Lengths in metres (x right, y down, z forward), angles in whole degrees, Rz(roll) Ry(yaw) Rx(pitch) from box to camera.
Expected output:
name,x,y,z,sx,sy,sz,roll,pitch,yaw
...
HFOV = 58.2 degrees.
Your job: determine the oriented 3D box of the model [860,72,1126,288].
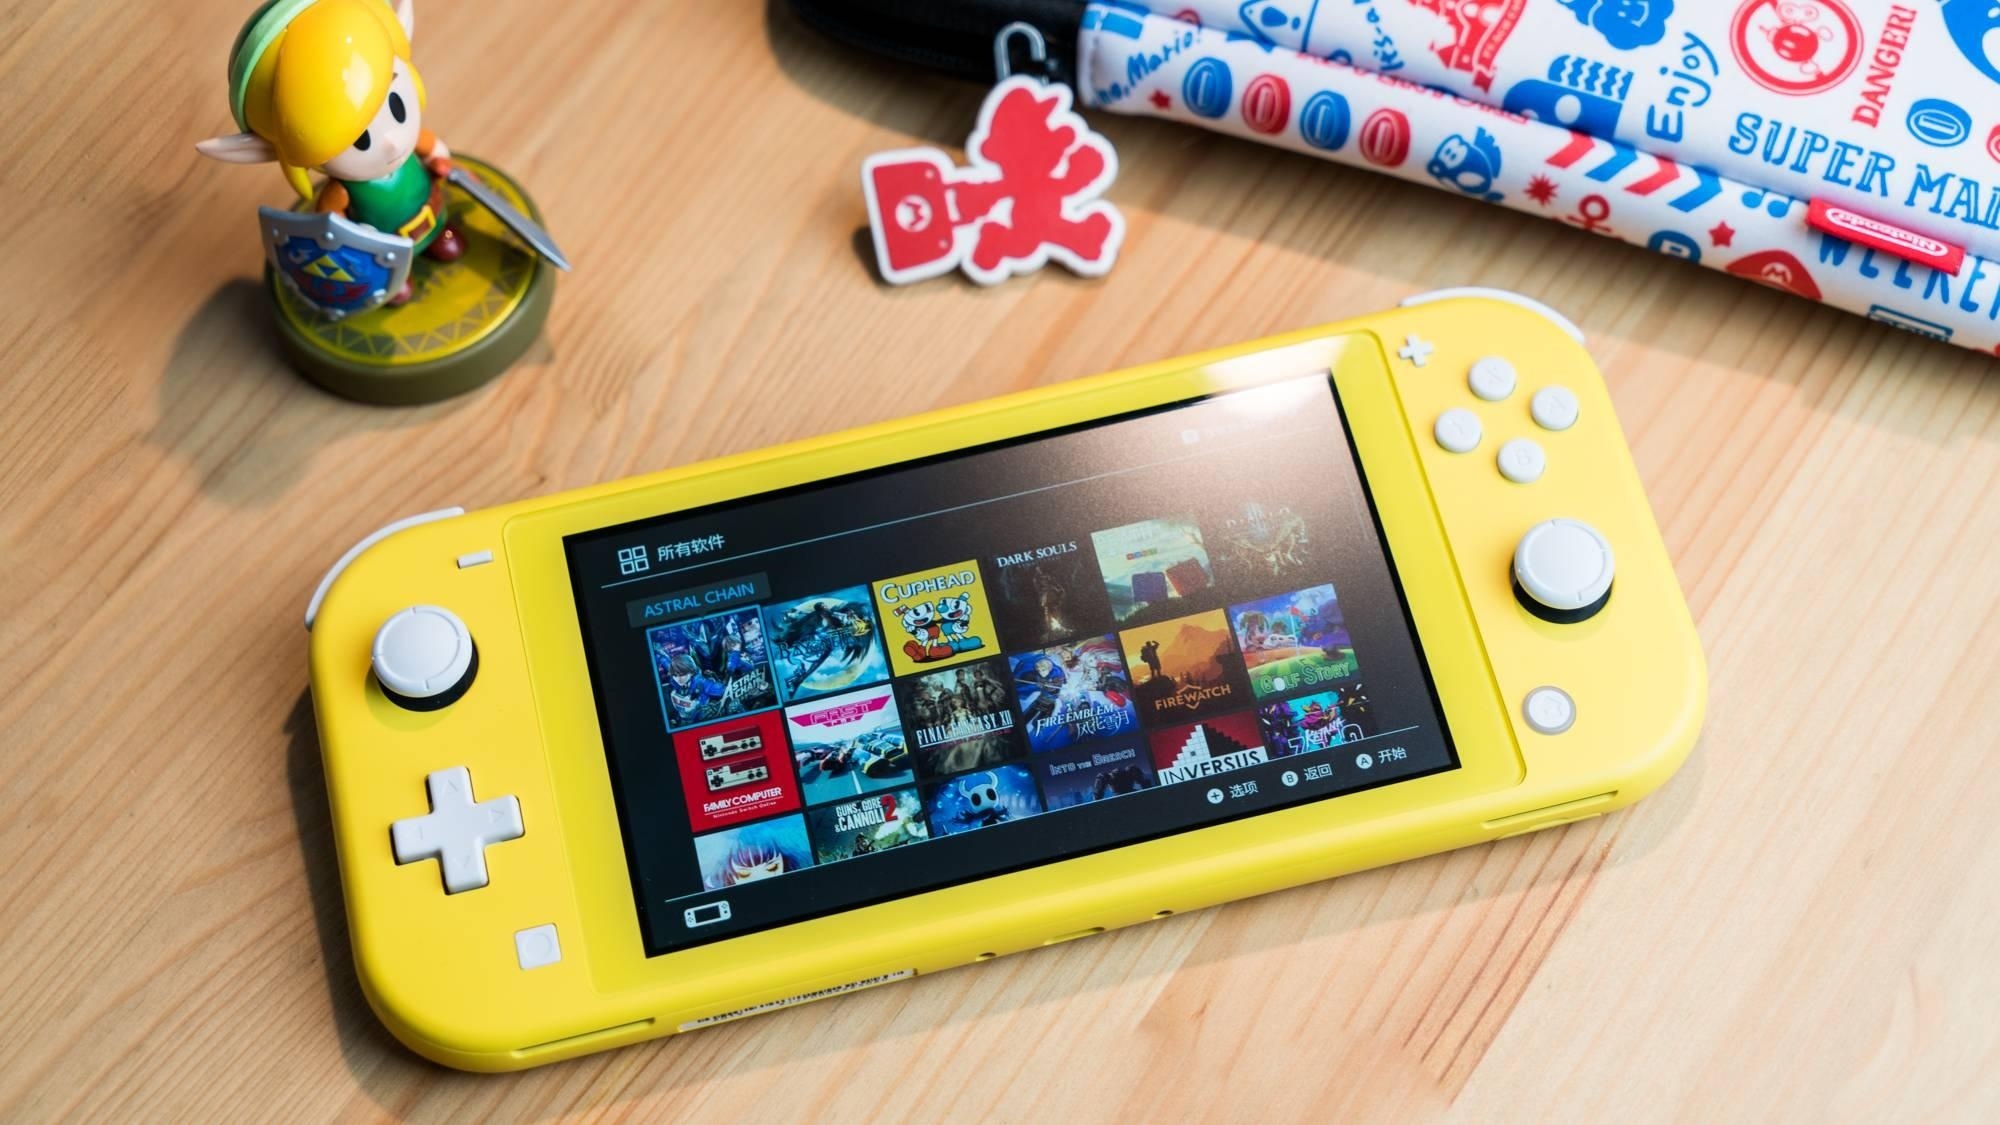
name,x,y,z,sx,sy,sz,roll,pitch,yaw
model,-0.007,-0.305,1.457,0.203,0.058,0.162,-5,78,-9
